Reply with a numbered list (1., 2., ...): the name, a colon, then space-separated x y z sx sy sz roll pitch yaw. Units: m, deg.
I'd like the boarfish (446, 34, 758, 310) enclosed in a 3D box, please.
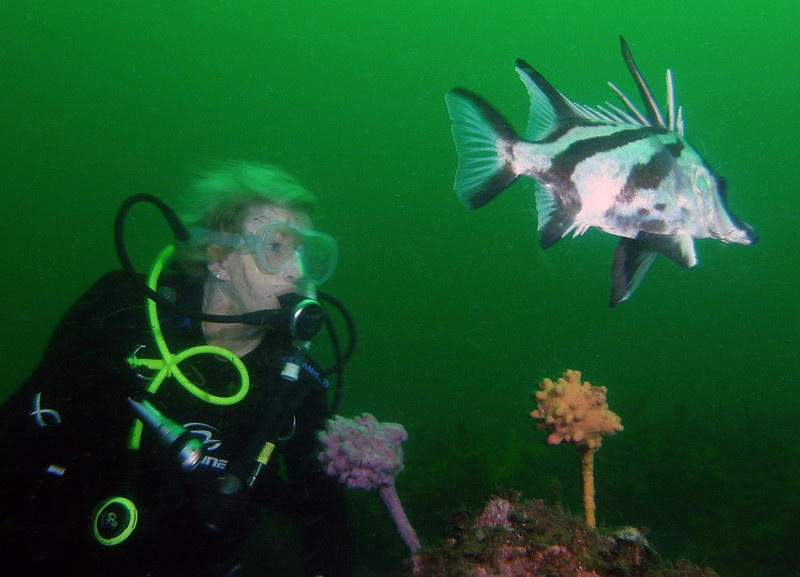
1. boarfish: 0.860 -0.427 3.523 1.352 0.917 0.423 10 -7 -11
